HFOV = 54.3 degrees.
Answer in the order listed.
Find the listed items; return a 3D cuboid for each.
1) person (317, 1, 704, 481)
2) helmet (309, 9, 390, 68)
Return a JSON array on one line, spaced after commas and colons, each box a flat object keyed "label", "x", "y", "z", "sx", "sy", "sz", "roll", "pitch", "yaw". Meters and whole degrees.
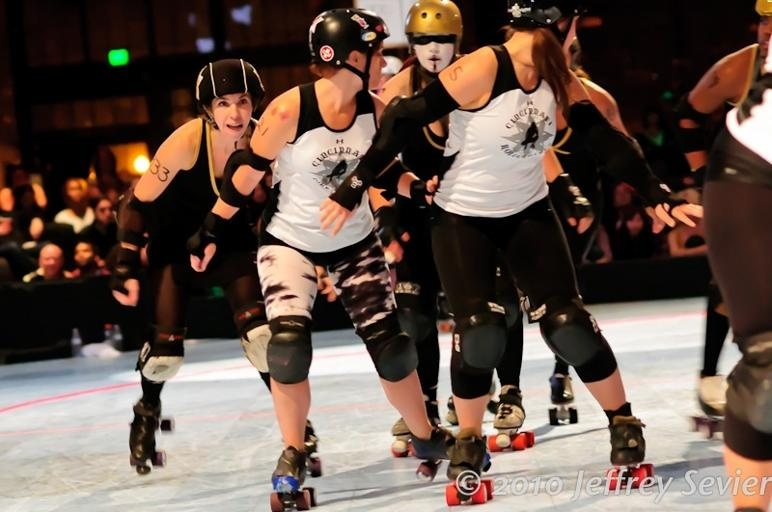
[{"label": "person", "x": 0.551, "y": -0.092, "z": 3.822, "sx": 1.396, "sy": 2.361, "sz": 0.355, "roll": -4, "pitch": 4, "yaw": -3}, {"label": "helmet", "x": -0.197, "y": -1.130, "z": 3.917, "sx": 0.377, "sy": 0.285, "sz": 0.287, "roll": 3, "pitch": 8, "yaw": -4}]
